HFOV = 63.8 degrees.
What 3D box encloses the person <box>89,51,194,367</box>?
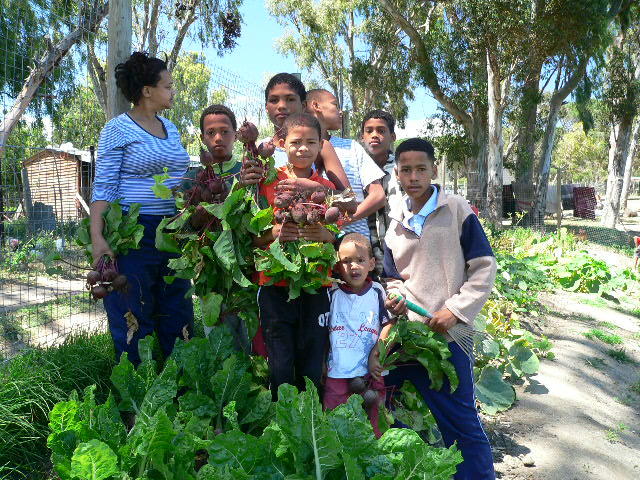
[{"bbox_3d":[-1.358,-0.251,3.900,0.795,2.349,0.482,0,5,-39],"label":"person"}]
